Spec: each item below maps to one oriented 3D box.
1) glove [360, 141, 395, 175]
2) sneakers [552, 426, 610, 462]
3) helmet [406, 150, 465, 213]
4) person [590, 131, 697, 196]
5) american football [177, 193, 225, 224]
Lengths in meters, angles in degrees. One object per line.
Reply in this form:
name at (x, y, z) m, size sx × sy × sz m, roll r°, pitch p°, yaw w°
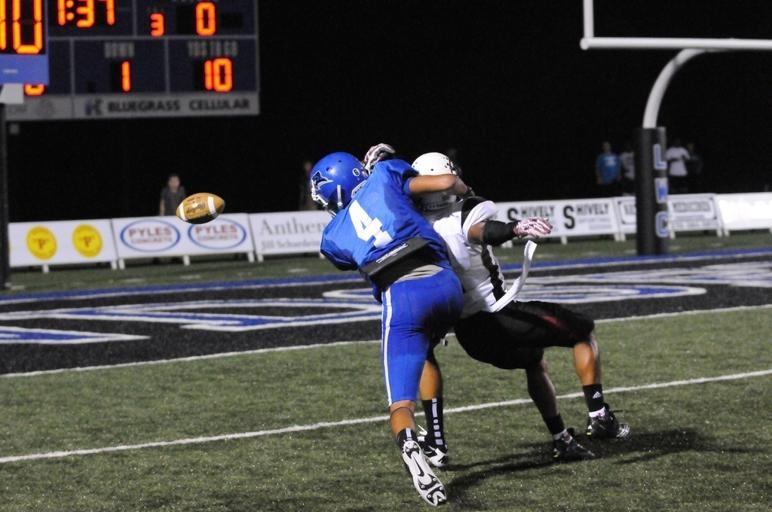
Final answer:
glove at (-0.069, -0.976, 10.701) m, size 0.323 × 0.142 × 0.258 m, roll -41°, pitch 17°, yaw 5°
sneakers at (1.923, 1.903, 10.815) m, size 0.492 × 0.299 × 0.170 m, roll 4°, pitch -3°, yaw -18°
helmet at (0.508, -0.713, 10.578) m, size 0.486 × 0.559 × 0.595 m, roll -2°, pitch 22°, yaw 33°
person at (6.170, -2.231, 25.725) m, size 2.749 × 1.415 × 0.876 m, roll -3°, pitch -30°, yaw 30°
american football at (-2.048, -0.544, 11.682) m, size 0.469 × 0.282 × 0.300 m, roll -13°, pitch -2°, yaw -1°
